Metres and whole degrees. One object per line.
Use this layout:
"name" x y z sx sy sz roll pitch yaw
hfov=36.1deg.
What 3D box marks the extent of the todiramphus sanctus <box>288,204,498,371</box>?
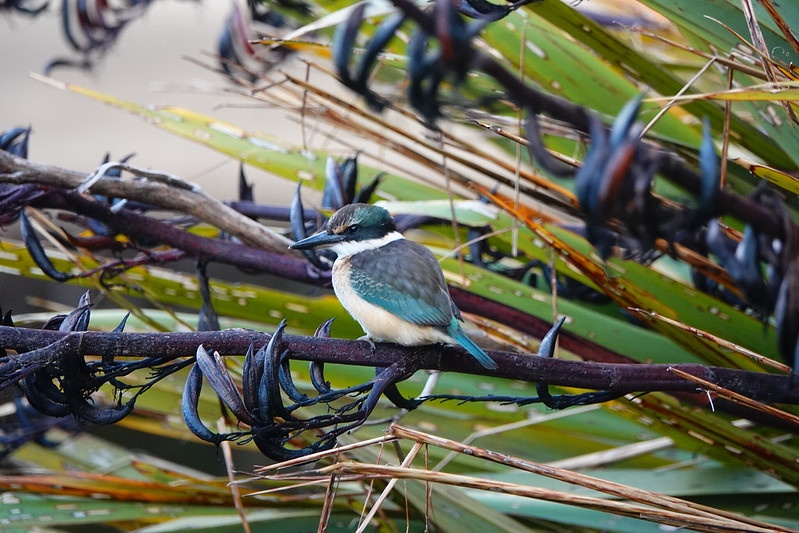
"todiramphus sanctus" -0.016 0.074 3.215 0.509 0.640 0.350 -9 -32 7
